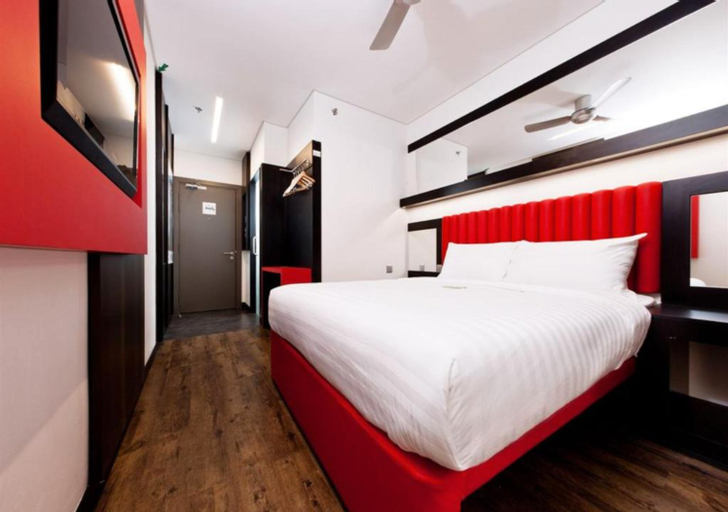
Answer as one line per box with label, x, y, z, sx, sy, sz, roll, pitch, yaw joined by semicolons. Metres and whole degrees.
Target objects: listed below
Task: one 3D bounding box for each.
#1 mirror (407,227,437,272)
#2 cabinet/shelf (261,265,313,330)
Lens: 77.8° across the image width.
mirror;0.663;-0.065;5.191;0.469;0.539;0.046;-2;2;-26
cabinet/shelf;-0.611;0.340;3.675;0.216;0.589;0.610;-1;3;-27
